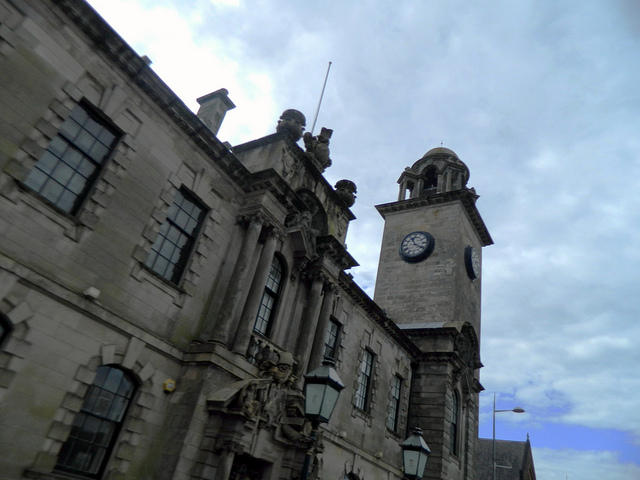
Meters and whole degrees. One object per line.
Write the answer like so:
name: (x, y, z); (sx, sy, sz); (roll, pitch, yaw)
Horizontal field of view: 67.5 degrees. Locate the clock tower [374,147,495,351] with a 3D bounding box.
clock tower: (9.759, -1.113, 42.270); (8.858, 20.302, 5.753); (1, -33, 13)
